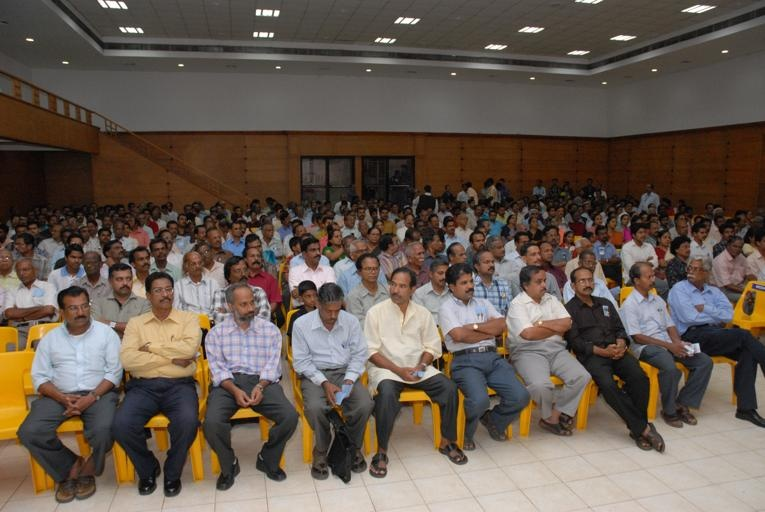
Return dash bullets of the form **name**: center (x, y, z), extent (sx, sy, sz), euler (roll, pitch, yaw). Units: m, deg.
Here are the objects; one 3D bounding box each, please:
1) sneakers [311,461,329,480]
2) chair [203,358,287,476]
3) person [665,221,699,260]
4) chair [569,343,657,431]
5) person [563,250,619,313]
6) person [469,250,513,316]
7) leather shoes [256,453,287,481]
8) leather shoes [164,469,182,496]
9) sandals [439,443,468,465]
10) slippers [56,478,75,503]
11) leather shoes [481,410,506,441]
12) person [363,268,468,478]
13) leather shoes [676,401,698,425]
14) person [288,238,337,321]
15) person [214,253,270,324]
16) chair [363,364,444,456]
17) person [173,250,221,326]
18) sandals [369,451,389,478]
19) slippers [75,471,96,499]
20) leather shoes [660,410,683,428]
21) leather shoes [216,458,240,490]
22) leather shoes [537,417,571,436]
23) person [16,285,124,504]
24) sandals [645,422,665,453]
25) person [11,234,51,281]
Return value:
- **sneakers**: center (-0.583, 2.017, 4.631), extent (0.175, 0.137, 0.104), euler (-3, 5, -10)
- **chair**: center (-1.252, 1.509, 4.924), extent (0.873, 1.320, 0.966), euler (1, -4, -19)
- **person**: center (6.109, -0.351, 10.102), extent (0.465, 0.375, 1.161), euler (11, -31, 41)
- **chair**: center (2.434, 1.436, 5.167), extent (0.625, 0.770, 0.370), euler (0, 5, 16)
- **person**: center (2.661, 0.335, 6.344), extent (0.703, 0.931, 0.520), euler (-2, -8, -6)
- **person**: center (1.270, 0.432, 5.915), extent (0.616, 0.956, 0.475), euler (-2, 8, -3)
- **leather shoes**: center (-1.040, 2.015, 4.679), extent (0.326, 0.132, 0.153), euler (20, 12, 26)
- **leather shoes**: center (-1.885, 2.034, 4.451), extent (0.161, 0.216, 0.137), euler (-5, 5, -33)
- **sandals**: center (0.714, 1.931, 4.850), extent (0.128, 0.088, 0.242), euler (-9, 14, -31)
- **slippers**: center (-2.815, 2.087, 4.380), extent (0.168, 0.158, 0.127), euler (-4, 5, -26)
- **leather shoes**: center (1.155, 1.803, 5.167), extent (0.139, 0.140, 0.343), euler (-17, 50, -28)
- **person**: center (0.293, 1.194, 4.935), extent (0.919, 1.670, 0.714), euler (-2, 5, -3)
- **leather shoes**: center (3.329, 1.726, 5.417), extent (0.110, 0.132, 0.303), euler (-5, 8, -4)
- **person**: center (-0.978, 0.236, 6.730), extent (0.693, 0.950, 0.545), euler (-3, 15, -38)
- **person**: center (-1.652, 0.434, 5.759), extent (0.600, 0.863, 0.600), euler (5, -10, -43)
- **chair**: center (0.198, 1.578, 5.119), extent (0.691, 0.538, 0.690), euler (-2, 5, -14)
- **person**: center (-2.256, 0.452, 6.048), extent (0.612, 0.982, 0.607), euler (-2, 8, -37)
- **sandals**: center (-0.036, 1.968, 4.669), extent (0.180, 0.201, 0.149), euler (-2, 5, -6)
- **slippers**: center (-2.667, 2.072, 4.432), extent (0.146, 0.158, 0.159), euler (0, 5, 21)
- **leather shoes**: center (3.150, 1.757, 5.344), extent (0.100, 0.126, 0.307), euler (-4, -1, -5)
- **leather shoes**: center (-1.415, 2.027, 4.585), extent (0.115, 0.133, 0.313), euler (4, 6, 8)
- **leather shoes**: center (1.845, 1.786, 5.227), extent (0.267, 0.098, 0.143), euler (7, 6, 22)
- **person**: center (-2.845, 1.226, 4.536), extent (0.822, 1.853, 0.640), euler (-4, 5, -26)
- **sandals**: center (2.728, 1.835, 4.982), extent (0.099, 0.127, 0.271), euler (14, 36, -23)
- **person**: center (-5.352, 0.021, 7.534), extent (0.640, 0.731, 0.359), euler (9, 16, 2)
